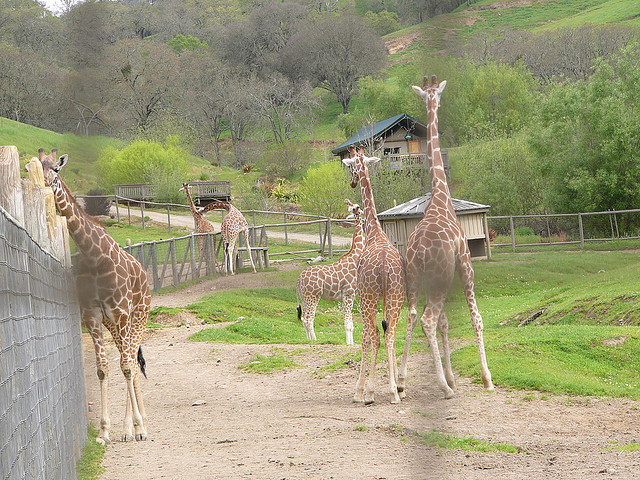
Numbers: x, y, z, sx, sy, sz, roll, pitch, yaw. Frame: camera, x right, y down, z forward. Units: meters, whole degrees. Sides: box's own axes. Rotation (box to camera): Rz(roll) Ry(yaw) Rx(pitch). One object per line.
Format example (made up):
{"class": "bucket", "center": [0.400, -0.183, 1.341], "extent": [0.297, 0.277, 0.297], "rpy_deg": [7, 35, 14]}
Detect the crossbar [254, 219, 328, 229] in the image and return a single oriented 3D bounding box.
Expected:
{"class": "crossbar", "center": [-1.646, -0.913, 45.463], "extent": [4.688, 0.429, 0.561], "rpy_deg": [-5, -20, 44]}

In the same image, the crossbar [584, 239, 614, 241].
{"class": "crossbar", "center": [13.223, -0.005, 37.081], "extent": [0.659, 0.108, 1.288], "rpy_deg": [-1, -2, -31]}

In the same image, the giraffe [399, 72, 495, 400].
{"class": "giraffe", "center": [2.303, 0.091, 15.014], "extent": [1.727, 5.849, 8.739], "rpy_deg": [-1, -2, 7]}

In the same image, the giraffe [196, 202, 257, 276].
{"class": "giraffe", "center": [-4.260, -0.122, 35.362], "extent": [2.386, 3.435, 4.355], "rpy_deg": [-1, -2, -18]}
